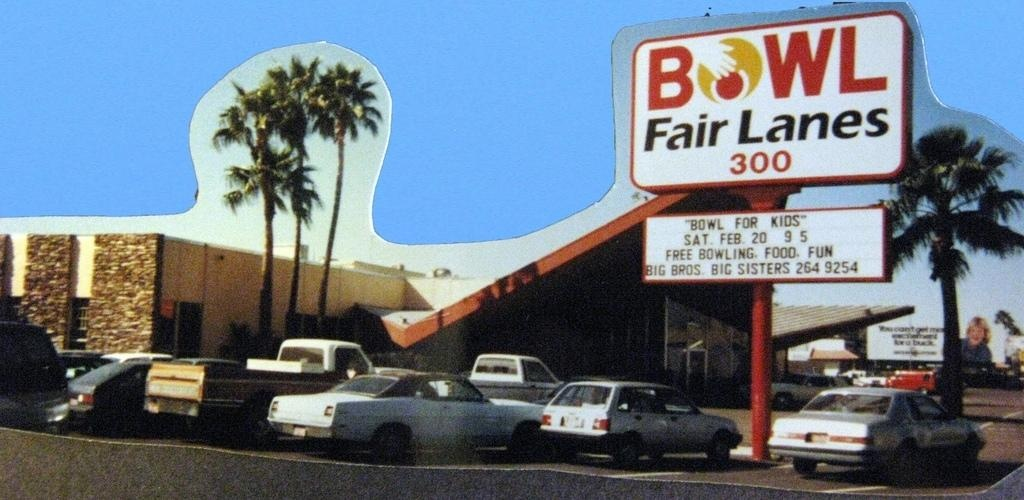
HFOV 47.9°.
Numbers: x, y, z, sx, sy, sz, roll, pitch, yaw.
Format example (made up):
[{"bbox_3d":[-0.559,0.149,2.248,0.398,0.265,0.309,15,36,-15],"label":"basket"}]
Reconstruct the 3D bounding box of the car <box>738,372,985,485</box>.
[{"bbox_3d":[7.323,3.458,22.538,3.624,1.187,1.815,-1,-2,-37],"label":"car"}]

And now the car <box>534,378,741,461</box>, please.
[{"bbox_3d":[2.527,3.471,23.248,3.115,1.240,1.740,0,-3,-26],"label":"car"}]
